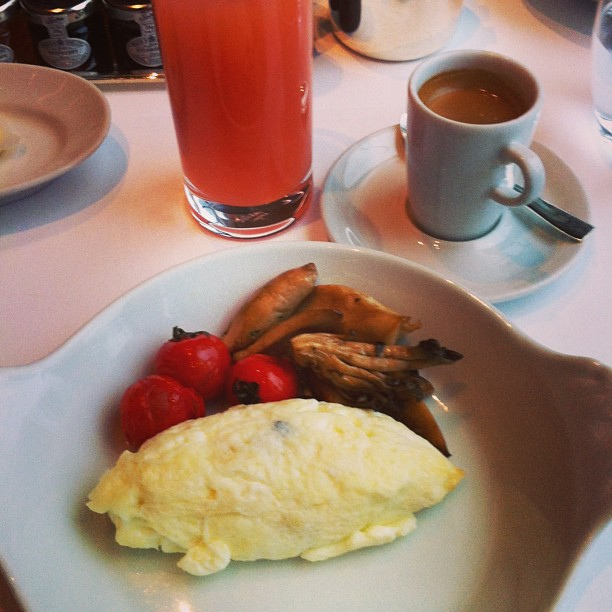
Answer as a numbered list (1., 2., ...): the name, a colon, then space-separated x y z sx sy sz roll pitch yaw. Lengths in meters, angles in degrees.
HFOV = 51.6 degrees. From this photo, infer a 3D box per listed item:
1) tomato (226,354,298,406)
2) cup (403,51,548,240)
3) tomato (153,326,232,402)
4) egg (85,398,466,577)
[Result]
1. tomato: -0.028 0.057 0.475 0.049 0.043 0.035 -2 80 14
2. cup: 0.169 -0.145 0.598 0.157 0.140 0.099 28 70 18
3. tomato: -0.087 0.047 0.483 0.055 0.035 0.048 -16 36 -25
4. egg: -0.016 0.117 0.449 0.277 0.058 0.107 -4 37 -9
